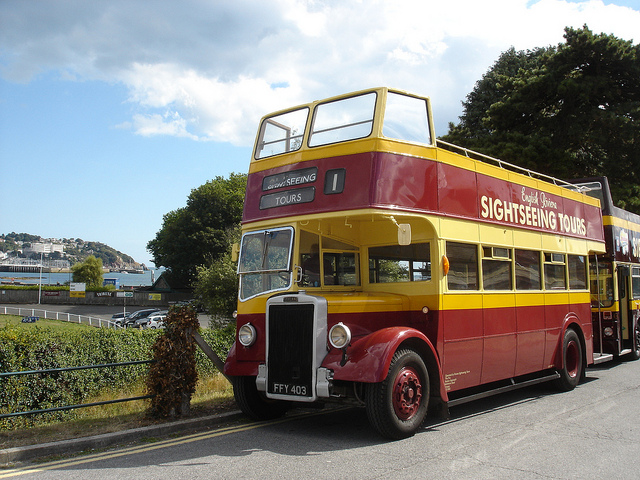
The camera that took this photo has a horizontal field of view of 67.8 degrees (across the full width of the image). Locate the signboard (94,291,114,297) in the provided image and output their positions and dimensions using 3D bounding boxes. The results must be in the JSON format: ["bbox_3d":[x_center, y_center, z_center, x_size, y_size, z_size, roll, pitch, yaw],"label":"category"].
[{"bbox_3d":[-33.562,8.410,74.334,3.585,1.005,0.762,-8,-3,27],"label":"signboard"}]

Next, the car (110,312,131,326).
[{"bbox_3d":[-22.159,8.561,52.635,1.160,1.057,1.977,0,4,27],"label":"car"}]

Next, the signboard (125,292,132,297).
[{"bbox_3d":[-28.410,8.044,71.098,0.902,0.799,2.499,-5,-3,-21],"label":"signboard"}]

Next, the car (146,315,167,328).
[{"bbox_3d":[-16.362,7.965,47.207,1.378,0.845,2.697,-5,-3,-26],"label":"car"}]

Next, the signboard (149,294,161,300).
[{"bbox_3d":[-24.429,8.323,70.785,2.206,0.869,0.451,-8,-4,35],"label":"signboard"}]

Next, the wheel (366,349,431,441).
[{"bbox_3d":[1.361,2.595,8.217,0.531,1.565,1.375,-6,-7,45],"label":"wheel"}]
